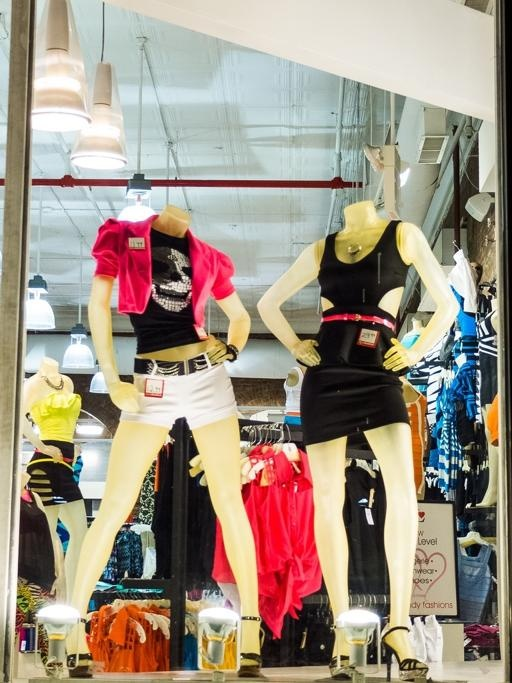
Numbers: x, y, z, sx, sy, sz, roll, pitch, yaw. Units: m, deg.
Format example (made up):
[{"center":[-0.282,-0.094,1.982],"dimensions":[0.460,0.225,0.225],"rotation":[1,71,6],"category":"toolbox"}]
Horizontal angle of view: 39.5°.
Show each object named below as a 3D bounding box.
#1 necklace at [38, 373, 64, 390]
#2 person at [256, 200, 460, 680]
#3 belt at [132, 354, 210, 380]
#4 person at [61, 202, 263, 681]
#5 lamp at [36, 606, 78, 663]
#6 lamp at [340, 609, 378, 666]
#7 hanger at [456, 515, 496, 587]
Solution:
[{"center":[-1.203,0.241,4.227],"dimensions":[0.035,0.087,0.092],"rotation":[-49,-22,25],"category":"necklace"},{"center":[0.393,0.304,2.500],"dimensions":[0.703,1.629,0.199],"rotation":[-10,-16,24],"category":"person"},{"center":[-0.290,0.086,2.503],"dimensions":[0.268,0.083,0.042],"rotation":[-1,-14,-9],"category":"belt"},{"center":[-0.300,0.310,2.481],"dimensions":[0.663,1.599,0.261],"rotation":[0,-15,-13],"category":"person"},{"center":[-0.581,0.861,2.100],"dimensions":[0.109,0.169,0.108],"rotation":[-3,-14,-3],"category":"lamp"},{"center":[0.305,0.878,2.124],"dimensions":[0.108,0.166,0.182],"rotation":[-3,-14,-4],"category":"lamp"},{"center":[1.250,1.207,4.074],"dimensions":[0.205,0.339,0.034],"rotation":[4,27,31],"category":"hanger"}]
